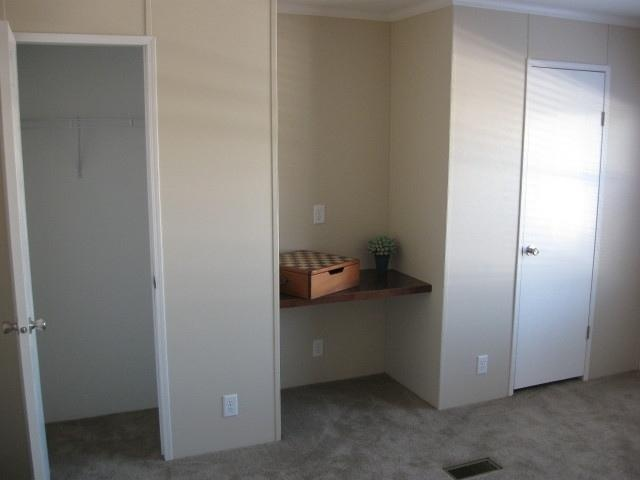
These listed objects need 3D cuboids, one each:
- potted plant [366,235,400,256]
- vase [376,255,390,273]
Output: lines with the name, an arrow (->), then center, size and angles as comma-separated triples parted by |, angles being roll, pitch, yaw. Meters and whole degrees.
potted plant -> 0.500, 0.056, 4.137 | 0.237, 0.162, 0.189 | -3, 10, -7
vase -> 0.486, 0.178, 4.105 | 0.107, 0.144, 0.085 | -1, 10, 6
